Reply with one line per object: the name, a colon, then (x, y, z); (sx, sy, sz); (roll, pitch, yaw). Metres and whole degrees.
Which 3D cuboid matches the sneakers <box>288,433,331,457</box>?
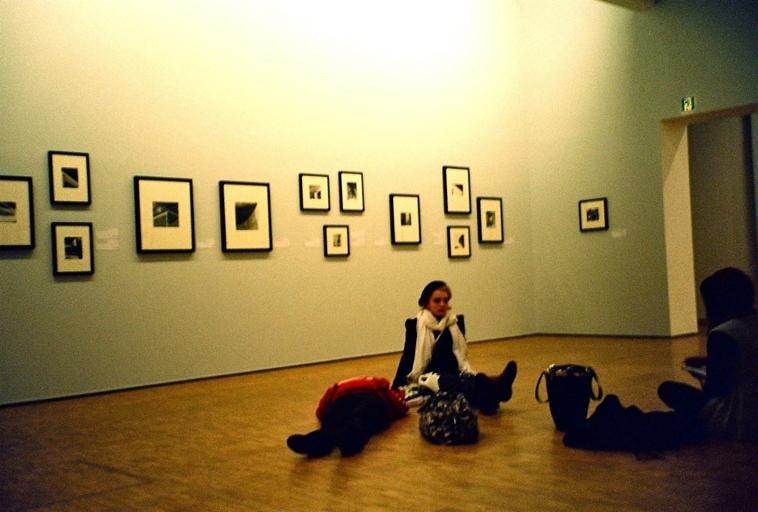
sneakers: (-0.681, 1.863, 5.417); (0.400, 0.251, 0.163); (-2, 0, -10)
